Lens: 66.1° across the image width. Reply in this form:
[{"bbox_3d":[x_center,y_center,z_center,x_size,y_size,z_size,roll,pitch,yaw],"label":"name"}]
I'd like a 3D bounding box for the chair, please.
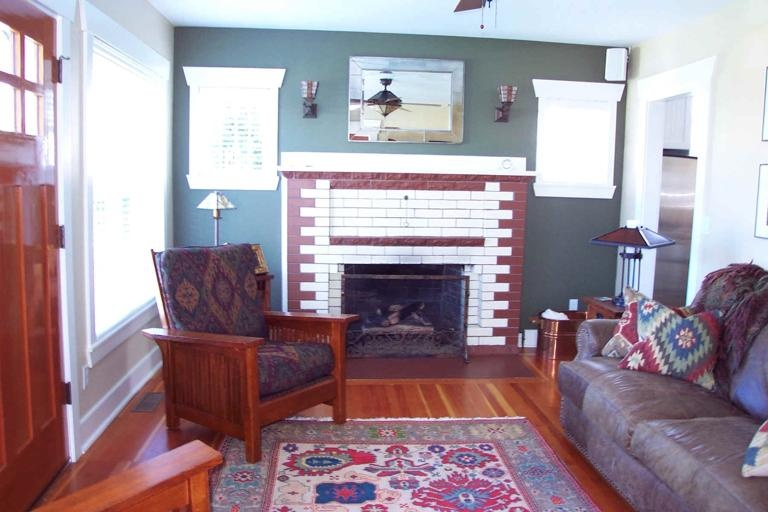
[{"bbox_3d":[-0.919,0.603,4.167,1.065,1.161,1.149,6,8,31],"label":"chair"}]

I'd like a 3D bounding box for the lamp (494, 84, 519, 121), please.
[{"bbox_3d":[1.147,-1.406,5.457,0.212,0.323,0.176,1,5,0],"label":"lamp"}]

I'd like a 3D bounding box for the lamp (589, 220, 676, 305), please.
[{"bbox_3d":[2.085,0.066,5.007,0.711,0.661,0.694,4,6,5],"label":"lamp"}]

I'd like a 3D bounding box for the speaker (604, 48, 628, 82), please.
[{"bbox_3d":[2.203,-1.800,5.564,0.225,0.305,0.115,1,5,-2],"label":"speaker"}]

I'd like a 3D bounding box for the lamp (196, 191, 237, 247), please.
[{"bbox_3d":[-1.438,-0.324,5.151,0.273,0.473,0.657,0,5,-13],"label":"lamp"}]

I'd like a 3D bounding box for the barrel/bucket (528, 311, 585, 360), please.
[{"bbox_3d":[1.625,0.747,5.568,0.494,0.314,0.408,-1,1,12],"label":"barrel/bucket"}]

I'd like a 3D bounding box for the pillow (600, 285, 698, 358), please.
[{"bbox_3d":[1.759,0.426,3.994,0.146,0.451,0.475,32,-34,-6],"label":"pillow"}]

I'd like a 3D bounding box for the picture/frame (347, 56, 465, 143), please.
[{"bbox_3d":[0.166,-1.468,5.417,0.868,0.567,0.014,1,4,-4],"label":"picture/frame"}]

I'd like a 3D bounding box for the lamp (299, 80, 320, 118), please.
[{"bbox_3d":[-0.657,-1.416,5.330,0.155,0.327,0.157,1,5,-7],"label":"lamp"}]
